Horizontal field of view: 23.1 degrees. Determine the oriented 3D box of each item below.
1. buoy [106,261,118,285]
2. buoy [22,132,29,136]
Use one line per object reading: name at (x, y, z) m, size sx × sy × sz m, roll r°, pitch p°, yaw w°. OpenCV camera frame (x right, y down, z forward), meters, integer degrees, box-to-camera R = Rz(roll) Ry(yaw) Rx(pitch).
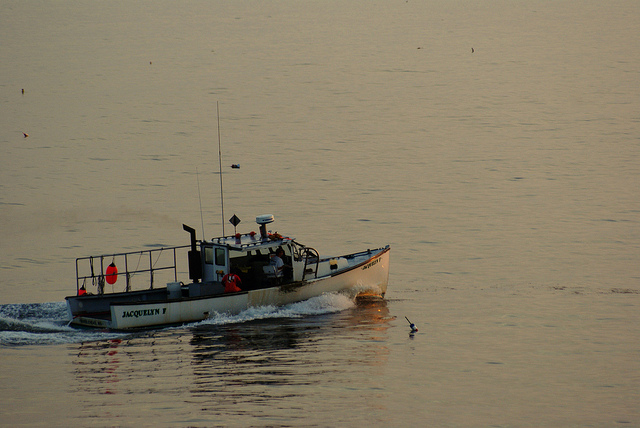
buoy at (-12.879, 3.616, 96.889) m, size 0.750 × 1.336 × 0.963 m, roll -7°, pitch 32°, yaw -6°
buoy at (-23.256, -6.453, 123.780) m, size 0.646 × 0.147 × 0.174 m, roll 27°, pitch 81°, yaw 45°
